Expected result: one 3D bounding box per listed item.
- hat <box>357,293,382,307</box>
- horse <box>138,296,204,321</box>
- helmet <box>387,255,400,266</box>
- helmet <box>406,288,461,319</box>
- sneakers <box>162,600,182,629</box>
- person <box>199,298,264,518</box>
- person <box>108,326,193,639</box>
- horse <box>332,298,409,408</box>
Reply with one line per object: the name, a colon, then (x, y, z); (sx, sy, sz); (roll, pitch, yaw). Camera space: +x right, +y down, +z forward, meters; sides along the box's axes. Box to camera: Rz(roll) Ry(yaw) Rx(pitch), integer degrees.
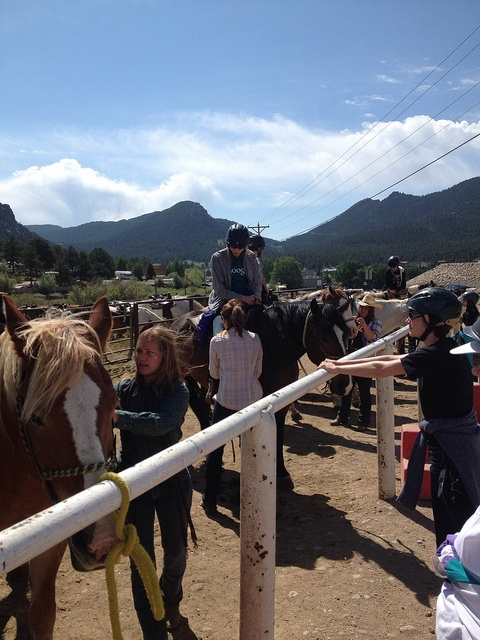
hat: (2.114, -0.295, 7.787); (0.242, 0.161, 0.377); (8, -22, 22)
horse: (-2.410, -0.520, 15.541); (1.257, 0.605, 1.876); (2, 14, 17)
helmet: (4.080, -1.521, 12.609); (0.296, 0.285, 0.253); (-37, 2, 18)
helmet: (1.028, -0.085, 2.515); (0.205, 0.154, 0.172); (-7, 4, 27)
sneakers: (-0.347, 1.570, 2.543); (0.055, 0.127, 0.172); (0, -1, -2)
person: (-0.075, 0.744, 4.069); (0.606, 1.775, 0.400); (-5, 0, 39)
person: (-0.428, 0.850, 2.496); (0.395, 1.649, 0.639); (-5, 0, -15)
horse: (3.210, 0.284, 11.136); (2.164, 1.539, 0.550); (-10, 24, -16)
